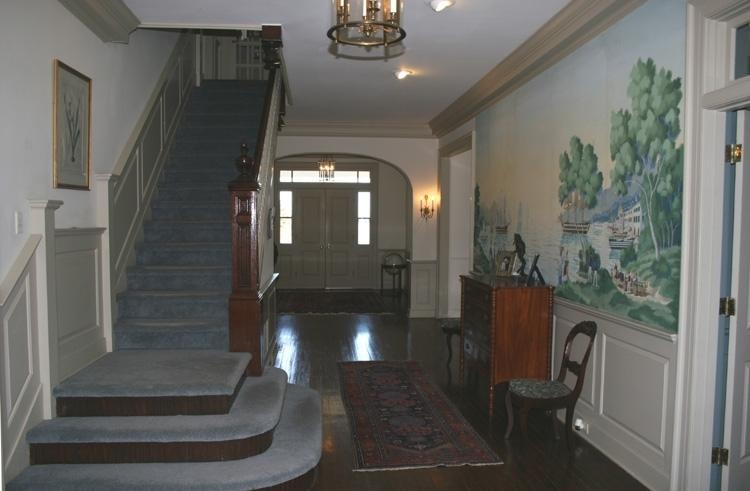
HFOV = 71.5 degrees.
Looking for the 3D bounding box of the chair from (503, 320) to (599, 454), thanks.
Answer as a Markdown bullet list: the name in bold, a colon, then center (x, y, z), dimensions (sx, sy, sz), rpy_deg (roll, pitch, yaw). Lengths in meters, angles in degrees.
- **chair**: center (1.792, 1.338, 5.302), dimensions (0.790, 1.273, 0.956), rpy_deg (4, 8, 24)
